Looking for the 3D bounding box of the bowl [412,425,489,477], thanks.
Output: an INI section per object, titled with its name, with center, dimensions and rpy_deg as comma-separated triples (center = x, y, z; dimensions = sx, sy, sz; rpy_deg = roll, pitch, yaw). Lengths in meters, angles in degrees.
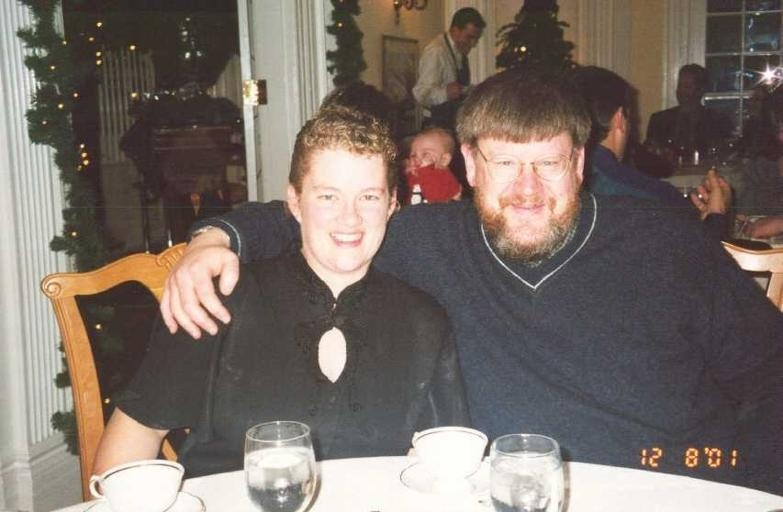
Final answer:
[bowl]
center = 0.210, 0.651, 2.542
dimensions = 0.221, 0.105, 0.241
rpy_deg = -1, 7, 0
